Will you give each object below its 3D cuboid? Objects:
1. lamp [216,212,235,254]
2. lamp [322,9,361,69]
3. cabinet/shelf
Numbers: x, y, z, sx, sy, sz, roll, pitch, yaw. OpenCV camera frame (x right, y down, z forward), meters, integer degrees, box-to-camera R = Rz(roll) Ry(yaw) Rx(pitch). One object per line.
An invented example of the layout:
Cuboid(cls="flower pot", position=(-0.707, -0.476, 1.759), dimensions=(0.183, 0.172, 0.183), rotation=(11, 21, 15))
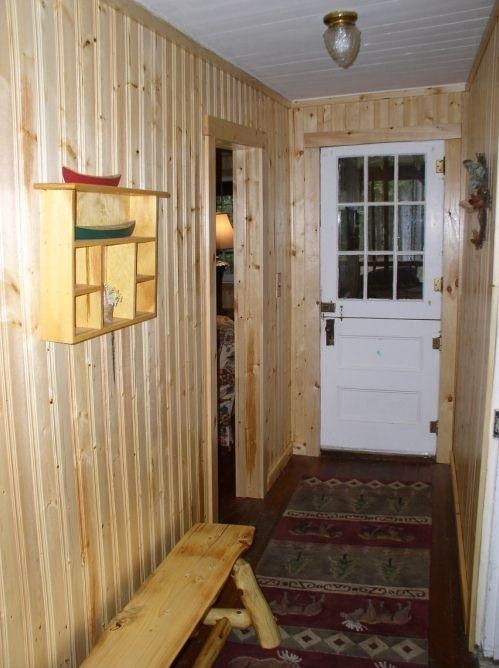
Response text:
Cuboid(cls="lamp", position=(-0.238, -0.978, 5.093), dimensions=(0.144, 0.333, 0.267), rotation=(-3, 7, -6))
Cuboid(cls="lamp", position=(0.298, -0.942, 1.744), dimensions=(0.113, 0.172, 0.112), rotation=(-7, 14, -2))
Cuboid(cls="cabinet/shelf", position=(-0.409, -0.217, 1.664), dimensions=(0.432, 0.405, 0.136), rotation=(2, 0, 33))
